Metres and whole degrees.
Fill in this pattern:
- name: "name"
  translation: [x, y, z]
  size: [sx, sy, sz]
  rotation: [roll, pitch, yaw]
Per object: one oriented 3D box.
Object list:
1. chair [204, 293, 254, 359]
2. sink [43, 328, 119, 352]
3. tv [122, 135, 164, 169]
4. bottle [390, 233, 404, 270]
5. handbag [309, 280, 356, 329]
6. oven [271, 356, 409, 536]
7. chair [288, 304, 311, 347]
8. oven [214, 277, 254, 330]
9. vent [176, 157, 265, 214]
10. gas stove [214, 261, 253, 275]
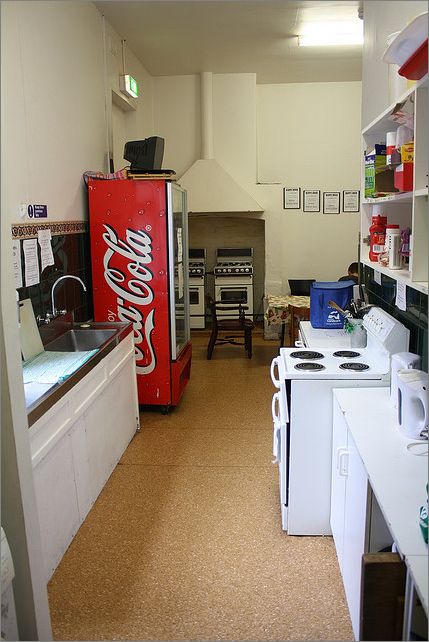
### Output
- name: "chair"
  translation: [0.203, 0.044, 6.148]
  size: [0.634, 0.985, 0.801]
  rotation: [-1, 8, 3]
- name: "sink"
  translation: [-0.934, 0.120, 3.019]
  size: [0.180, 0.134, 0.297]
  rotation: [0, 7, 3]
- name: "tv"
  translation: [-0.595, -1.347, 3.819]
  size: [0.302, 0.361, 0.336]
  rotation: [0, 23, -3]
- name: "bottle"
  translation: [0.794, -0.304, 1.994]
  size: [0.054, 0.158, 0.083]
  rotation: [1, 5, 22]
- name: "handbag"
  translation: [0.809, -0.121, 3.245]
  size: [0.319, 0.397, 0.267]
  rotation: [-1, 7, 3]
- name: "oven"
  translation: [0.647, 0.403, 2.533]
  size: [0.597, 1.043, 0.996]
  rotation: [1, 9, 10]
- name: "chair"
  translation: [1.023, 0.061, 5.600]
  size: [0.232, 0.542, 0.758]
  rotation: [0, 6, 8]
- name: "oven"
  translation: [0.285, -0.309, 6.915]
  size: [0.554, 0.999, 0.621]
  rotation: [-1, -3, 2]
- name: "vent"
  translation: [0.037, -1.834, 6.147]
  size: [1.014, 0.494, 1.099]
  rotation: [-3, 13, -8]
- name: "gas stove"
  translation: [0.289, -0.818, 7.107]
  size: [0.593, 0.209, 0.395]
  rotation: [-1, 6, 2]
